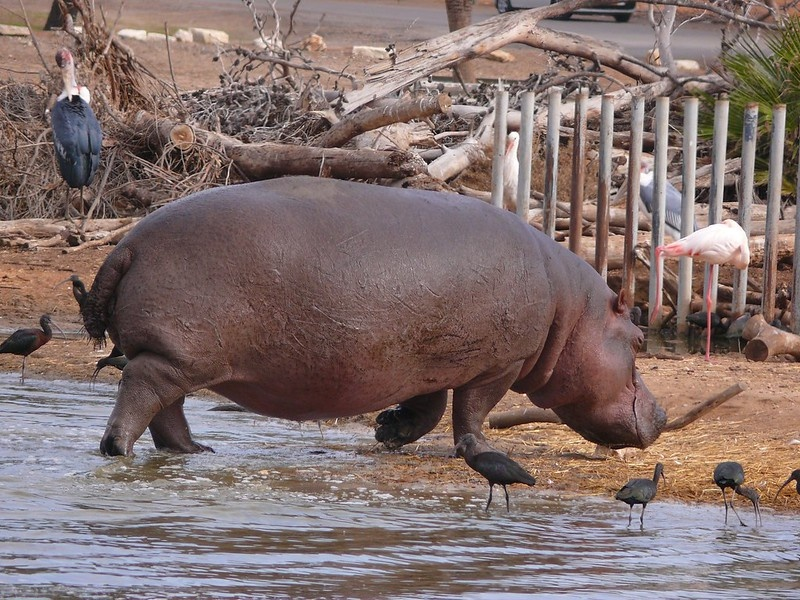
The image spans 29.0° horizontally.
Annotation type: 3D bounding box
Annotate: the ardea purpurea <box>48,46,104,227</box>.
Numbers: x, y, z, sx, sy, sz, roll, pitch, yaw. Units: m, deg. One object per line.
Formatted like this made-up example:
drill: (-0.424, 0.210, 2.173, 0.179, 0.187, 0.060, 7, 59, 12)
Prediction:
ardea purpurea: (-3.661, -1.788, 17.409, 0.534, 1.961, 1.507, 1, 14, -12)

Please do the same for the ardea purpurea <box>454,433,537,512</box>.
ardea purpurea: (0.604, 1.114, 10.203, 0.399, 0.379, 0.713, 0, 12, -13)

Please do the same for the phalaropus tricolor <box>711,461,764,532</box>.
phalaropus tricolor: (2.235, 1.281, 10.210, 0.373, 0.348, 0.416, 1, 6, 13)

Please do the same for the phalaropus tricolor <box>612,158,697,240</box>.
phalaropus tricolor: (2.945, -1.146, 16.631, 0.510, 0.707, 1.406, -16, 35, -10)
